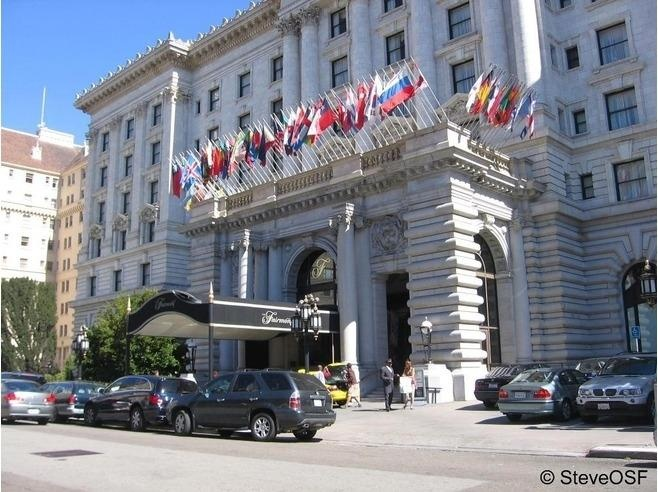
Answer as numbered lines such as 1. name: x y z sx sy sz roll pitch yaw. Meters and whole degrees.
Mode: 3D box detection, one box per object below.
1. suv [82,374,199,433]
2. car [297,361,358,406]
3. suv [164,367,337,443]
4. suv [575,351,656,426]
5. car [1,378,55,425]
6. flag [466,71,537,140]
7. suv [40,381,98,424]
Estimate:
1. suv: -7.345 6.032 25.433 4.662 1.654 2.152 -8 -18 37
2. car: 0.187 6.649 31.112 1.886 1.475 4.128 5 -9 -35
3. suv: -2.301 4.985 21.398 4.518 1.679 2.408 -6 -15 30
4. suv: 9.474 4.542 21.093 2.386 2.189 2.176 7 -17 -30
5. car: -11.872 6.000 25.834 1.896 1.438 1.011 6 -16 -24
6. flag: 9.411 -7.479 35.096 4.285 2.971 0.734 21 -3 -19
7. suv: -10.778 6.480 27.750 1.327 1.058 2.831 6 -10 -36
